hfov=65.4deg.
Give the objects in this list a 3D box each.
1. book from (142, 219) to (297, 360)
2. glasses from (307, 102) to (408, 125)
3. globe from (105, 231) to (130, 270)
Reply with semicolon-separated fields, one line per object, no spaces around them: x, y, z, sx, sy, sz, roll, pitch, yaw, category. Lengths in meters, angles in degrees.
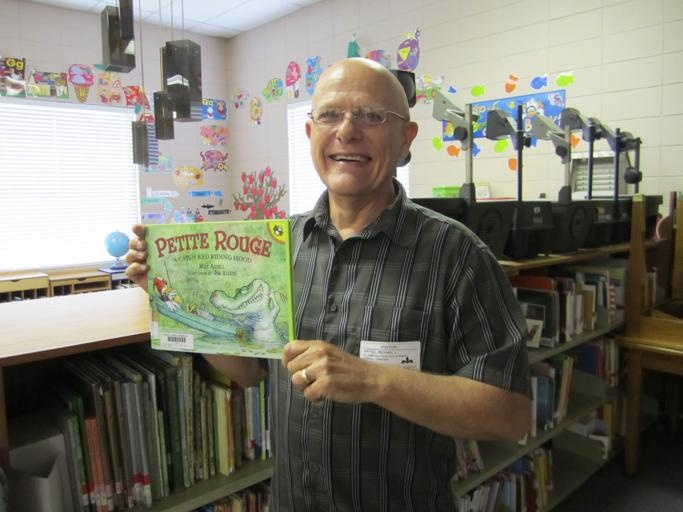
-0.357;0.097;1.597;0.426;0.380;0.058;-1;1;12;book
0.056;-0.434;1.681;0.310;0.058;0.105;1;11;5;glasses
-2.593;-0.062;6.200;0.304;0.477;0.313;-4;-9;-12;globe
